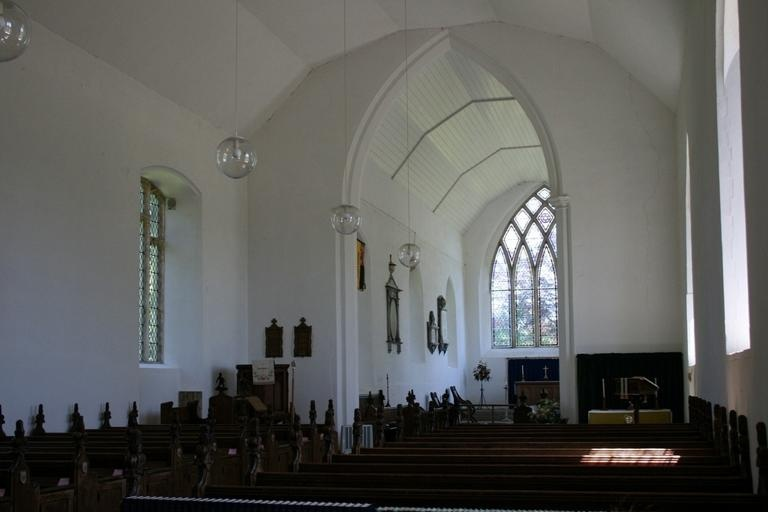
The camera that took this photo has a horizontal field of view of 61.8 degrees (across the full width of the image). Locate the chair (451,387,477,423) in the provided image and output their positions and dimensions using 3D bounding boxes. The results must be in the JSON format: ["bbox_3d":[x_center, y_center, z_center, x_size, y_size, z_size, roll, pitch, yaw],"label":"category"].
[{"bbox_3d":[2.670,4.930,21.126,0.954,1.124,0.880,3,-11,-24],"label":"chair"}]

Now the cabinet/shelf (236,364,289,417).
[{"bbox_3d":[-2.394,2.931,13.208,0.965,1.178,0.579,-7,-39,-4],"label":"cabinet/shelf"}]
